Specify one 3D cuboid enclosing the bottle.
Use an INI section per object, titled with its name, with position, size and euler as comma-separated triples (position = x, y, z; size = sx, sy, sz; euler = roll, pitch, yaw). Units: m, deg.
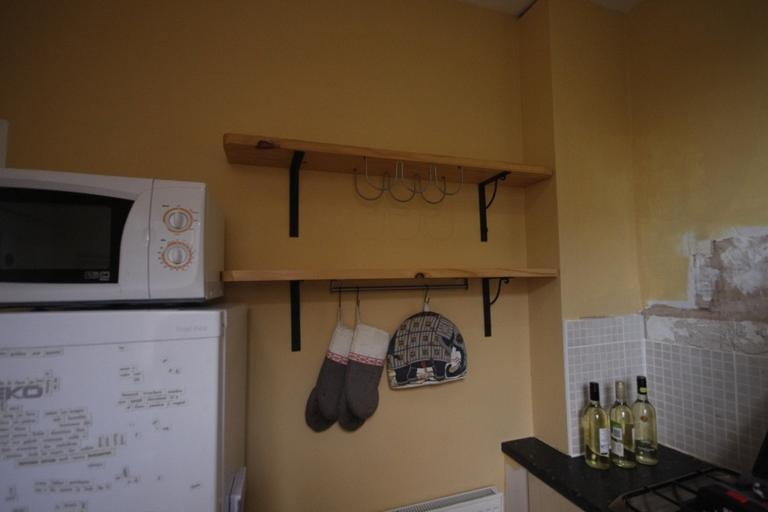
[bottle]
position = 1.088, 0.793, 2.846
size = 0.364, 0.458, 0.127
euler = 1, -6, -12
